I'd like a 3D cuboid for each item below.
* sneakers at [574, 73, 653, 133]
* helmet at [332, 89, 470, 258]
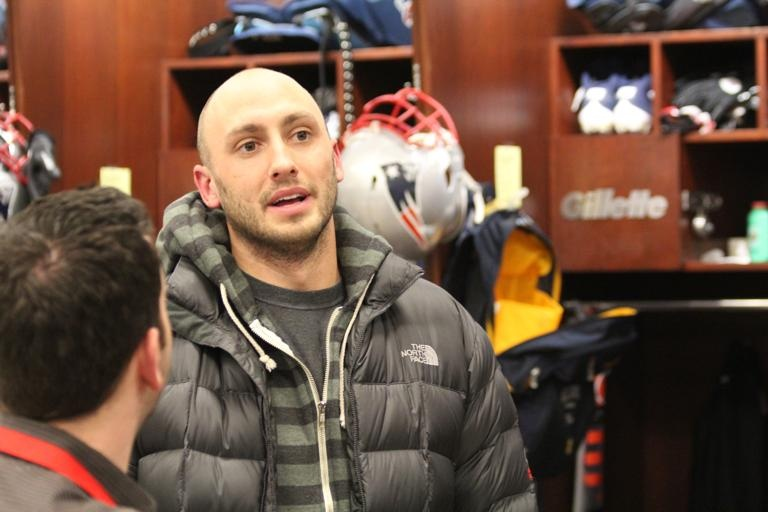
[{"bbox_3d":[1.025,-0.646,3.828,0.244,0.296,0.117,0,-14,15],"label":"sneakers"},{"bbox_3d":[0.059,-0.343,3.308,0.448,0.661,0.515,5,38,15],"label":"helmet"}]
